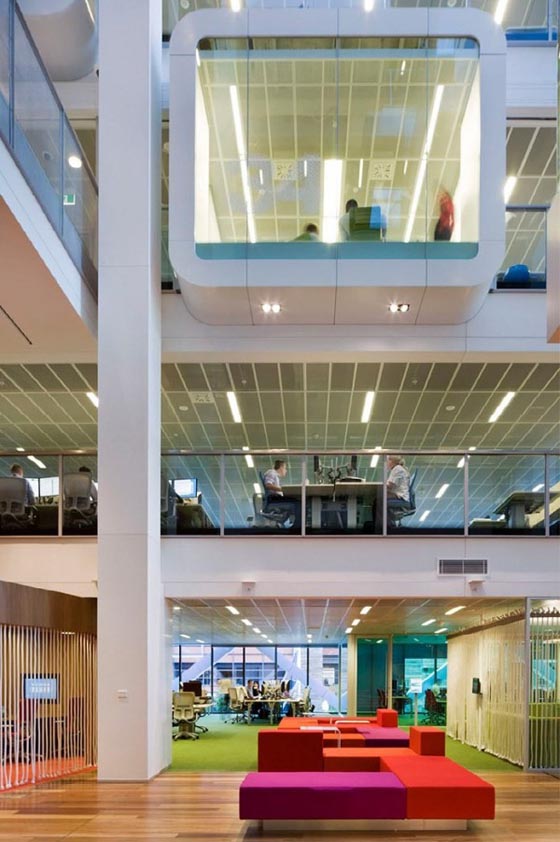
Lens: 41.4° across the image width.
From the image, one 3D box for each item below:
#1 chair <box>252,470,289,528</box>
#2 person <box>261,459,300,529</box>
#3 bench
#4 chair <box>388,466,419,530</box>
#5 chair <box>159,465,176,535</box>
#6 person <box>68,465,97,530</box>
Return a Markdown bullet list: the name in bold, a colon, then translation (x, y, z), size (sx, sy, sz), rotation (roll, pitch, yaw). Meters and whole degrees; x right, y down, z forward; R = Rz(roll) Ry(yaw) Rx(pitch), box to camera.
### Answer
- **chair**: translation (-0.204, 1.120, 10.351), size (0.611, 1.101, 0.763), rotation (2, -8, 2)
- **person**: translation (0.024, 1.019, 10.059), size (0.530, 1.021, 0.435), rotation (5, 5, -12)
- **bench**: translation (0.660, 3.139, 6.813), size (1.977, 0.576, 2.477), rotation (0, -11, -1)
- **chair**: translation (1.596, 0.987, 9.850), size (0.381, 0.833, 0.231), rotation (-2, -9, 8)
- **chair**: translation (-1.531, 1.081, 10.003), size (0.125, 0.853, 0.259), rotation (-7, -11, 36)
- **person**: translation (-2.844, 1.128, 10.583), size (0.436, 0.937, 0.192), rotation (1, -9, -11)
